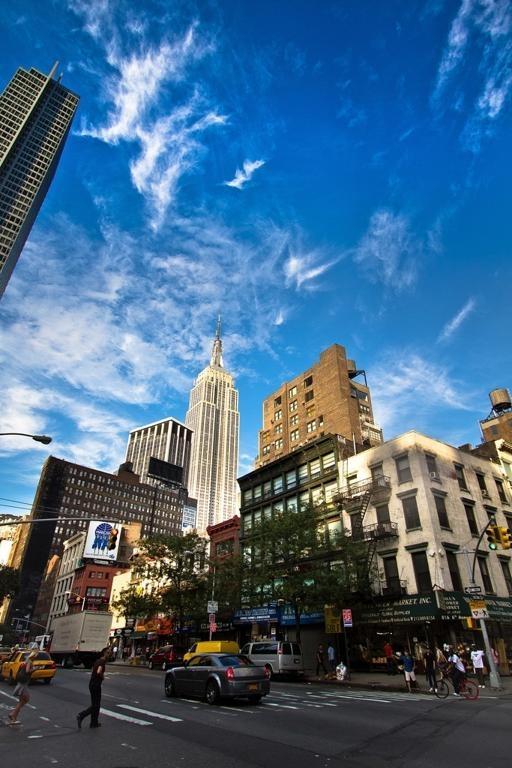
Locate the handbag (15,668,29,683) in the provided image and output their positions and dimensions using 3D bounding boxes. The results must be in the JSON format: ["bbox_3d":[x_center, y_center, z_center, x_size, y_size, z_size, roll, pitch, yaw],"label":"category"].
[{"bbox_3d":[-5.318,6.627,9.390,0.246,0.339,0.419,11,-29,-21],"label":"handbag"}]
